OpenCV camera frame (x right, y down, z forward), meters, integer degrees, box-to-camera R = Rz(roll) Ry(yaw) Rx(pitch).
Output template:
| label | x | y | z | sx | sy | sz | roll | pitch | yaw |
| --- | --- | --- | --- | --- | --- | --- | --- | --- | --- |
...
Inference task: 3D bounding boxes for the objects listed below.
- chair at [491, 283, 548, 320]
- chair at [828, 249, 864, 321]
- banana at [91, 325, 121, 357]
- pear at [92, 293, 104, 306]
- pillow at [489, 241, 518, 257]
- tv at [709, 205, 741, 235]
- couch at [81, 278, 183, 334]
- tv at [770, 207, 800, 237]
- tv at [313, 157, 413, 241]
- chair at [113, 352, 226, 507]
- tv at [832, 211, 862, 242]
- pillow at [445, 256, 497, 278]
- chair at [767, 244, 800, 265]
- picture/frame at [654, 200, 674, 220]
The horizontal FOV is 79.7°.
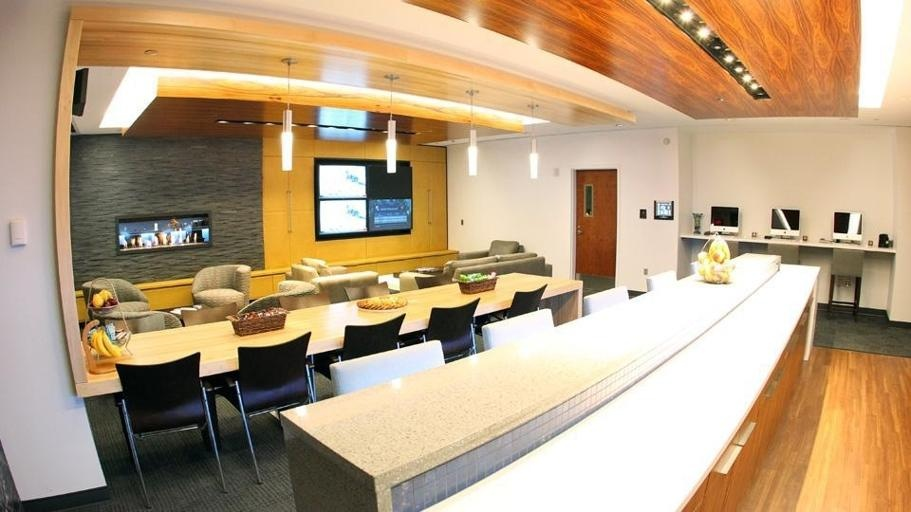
| label | x | y | z | sx | sy | sz | roll | pitch | yaw |
| --- | --- | --- | --- | --- | --- | --- | --- | --- | --- |
| chair | 0.787 | 0.657 | 7.164 | 0.536 | 0.676 | 0.523 | -7 | 10 | -37 |
| chair | 7.064 | 0.447 | 9.921 | 0.487 | 1.184 | 0.650 | 1 | 7 | 32 |
| banana | -3.438 | 0.863 | 5.399 | 0.243 | 0.314 | 0.100 | -3 | 6 | -2 |
| pear | -3.679 | 0.454 | 5.671 | 0.093 | 0.110 | 0.073 | -12 | -12 | 28 |
| pillow | 1.100 | -0.169 | 12.391 | 0.437 | 0.400 | 0.197 | 7 | -12 | 34 |
| tv | 5.403 | -0.706 | 10.913 | 0.795 | 0.746 | 0.309 | 1 | 4 | 31 |
| couch | -4.649 | 0.709 | 7.825 | 1.065 | 0.970 | 0.835 | -6 | 10 | -10 |
| tv | 6.340 | -0.637 | 10.490 | 0.634 | 0.616 | 0.251 | 2 | 3 | 37 |
| tv | -2.193 | -1.311 | 12.475 | 2.306 | 1.334 | 0.109 | -5 | 10 | -35 |
| chair | -2.876 | 1.688 | 5.566 | 0.916 | 1.513 | 0.679 | -5 | 6 | -21 |
| tv | 7.154 | -0.517 | 9.992 | 0.400 | 0.541 | 0.142 | -1 | 6 | 18 |
| pillow | 0.276 | 0.330 | 9.515 | 0.699 | 0.408 | 0.451 | -8 | 19 | -22 |
| chair | 5.814 | -0.023 | 9.666 | 0.348 | 0.443 | 0.288 | 6 | 13 | 38 |
| picture/frame | 4.134 | -0.908 | 10.798 | 0.429 | 0.363 | 0.232 | -3 | -4 | 37 |
